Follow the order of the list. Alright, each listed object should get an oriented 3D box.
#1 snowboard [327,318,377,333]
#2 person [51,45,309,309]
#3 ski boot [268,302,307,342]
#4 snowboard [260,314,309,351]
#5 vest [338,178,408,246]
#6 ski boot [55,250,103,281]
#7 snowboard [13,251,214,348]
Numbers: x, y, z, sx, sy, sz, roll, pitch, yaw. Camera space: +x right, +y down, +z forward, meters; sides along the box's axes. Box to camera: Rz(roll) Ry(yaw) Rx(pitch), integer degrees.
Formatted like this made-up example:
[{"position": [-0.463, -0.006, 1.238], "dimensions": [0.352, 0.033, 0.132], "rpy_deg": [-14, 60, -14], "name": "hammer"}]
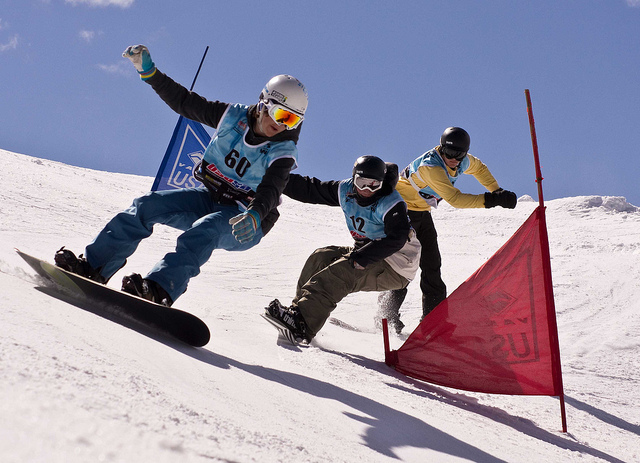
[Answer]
[{"position": [0.511, 1.212, 7.781], "dimensions": [0.129, 0.203, 1.363], "rpy_deg": [-7, -14, 33], "name": "snowboard"}, {"position": [-1.073, -0.482, 5.330], "dimensions": [1.503, 2.408, 1.020], "rpy_deg": [21, -5, 0], "name": "person"}, {"position": [-0.304, 0.813, 6.017], "dimensions": [0.402, 0.343, 0.483], "rpy_deg": [-8, 13, -17], "name": "ski boot"}, {"position": [-0.328, 0.949, 5.736], "dimensions": [0.616, 0.195, 0.093], "rpy_deg": [32, 26, 27], "name": "snowboard"}, {"position": [0.551, -0.190, 6.492], "dimensions": [0.579, 0.837, 0.608], "rpy_deg": [-4, 10, -11], "name": "vest"}, {"position": [-1.930, 0.238, 5.136], "dimensions": [0.501, 0.201, 0.191], "rpy_deg": [14, 21, 31], "name": "ski boot"}, {"position": [-1.562, 0.519, 4.610], "dimensions": [1.163, 0.324, 0.174], "rpy_deg": [27, 34, 22], "name": "snowboard"}]
